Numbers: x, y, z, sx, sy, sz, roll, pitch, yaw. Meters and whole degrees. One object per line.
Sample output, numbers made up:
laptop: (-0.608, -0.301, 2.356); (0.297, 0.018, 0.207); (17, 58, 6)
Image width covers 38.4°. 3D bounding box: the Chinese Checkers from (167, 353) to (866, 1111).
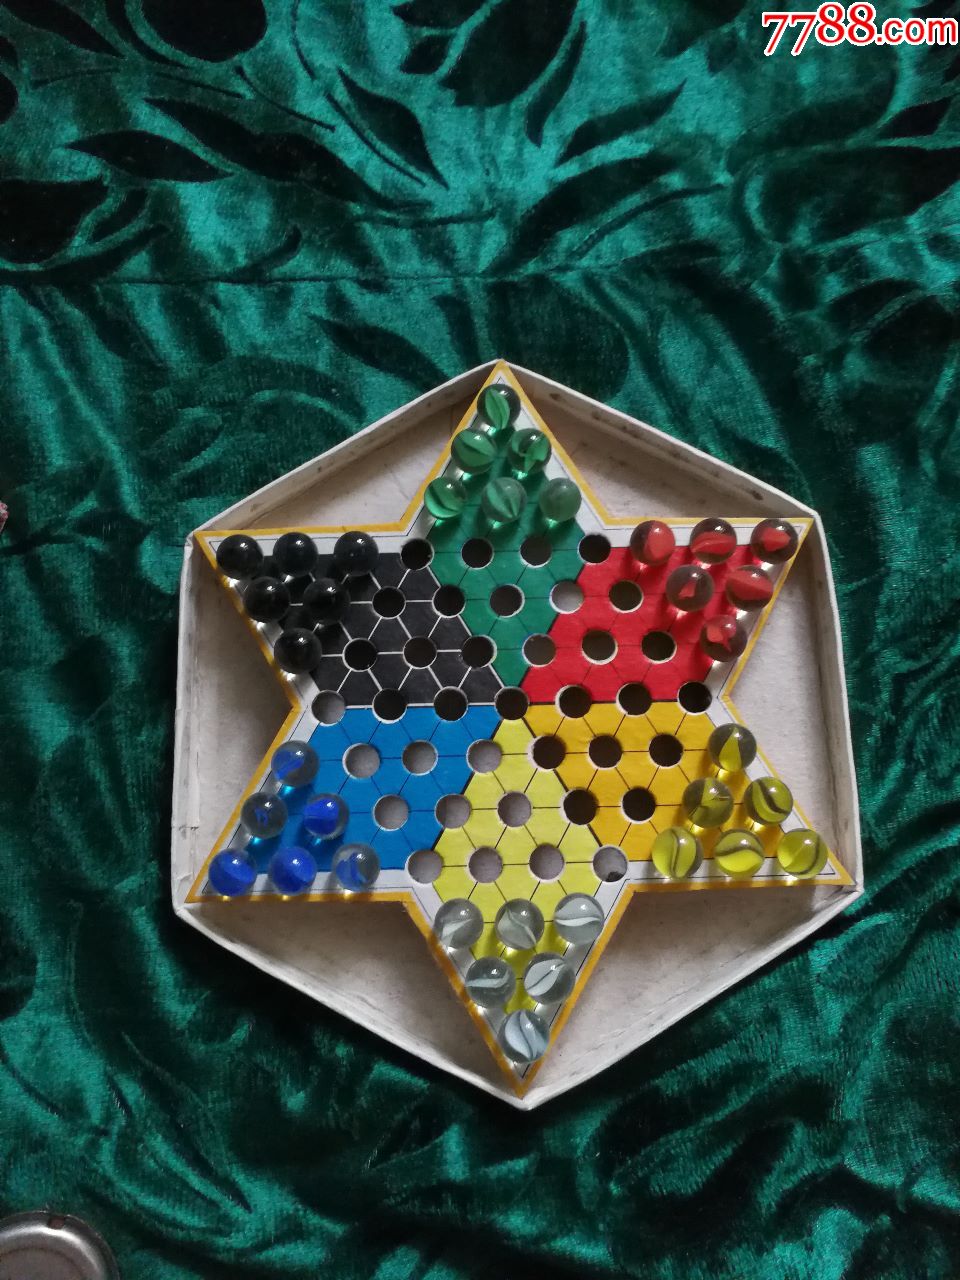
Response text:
Chinese Checkers: (0.035, 0.078, 1.507); (0.669, 0.510, 0.766); (28, 60, 38)
